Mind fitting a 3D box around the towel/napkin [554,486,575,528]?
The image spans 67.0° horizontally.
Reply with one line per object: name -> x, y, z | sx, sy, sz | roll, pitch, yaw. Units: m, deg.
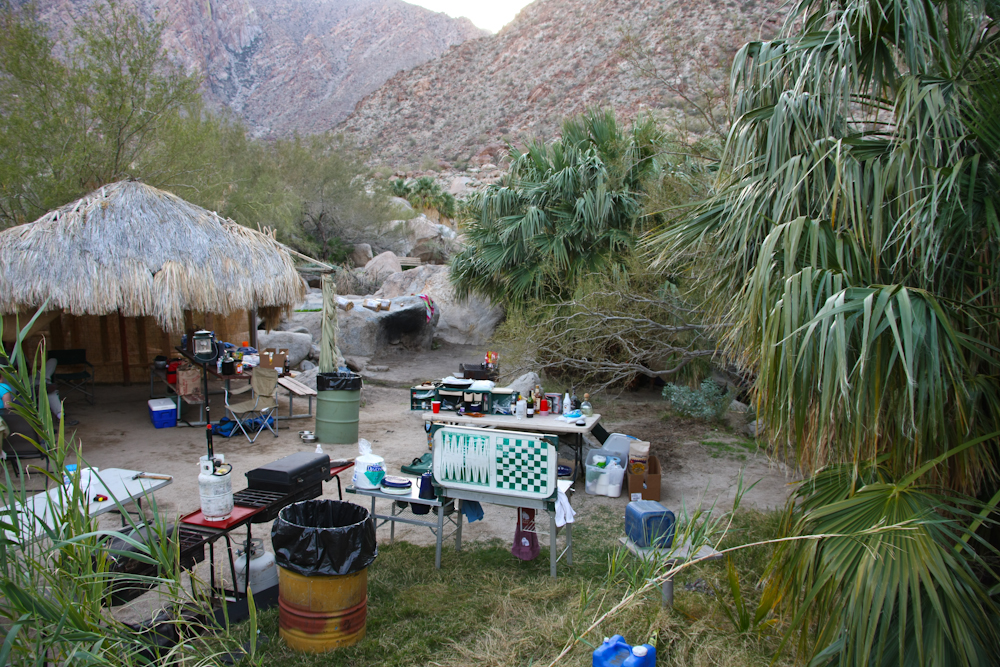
towel/napkin -> 0.613, 1.665, 7.078 | 0.186, 0.532, 0.492 | 0, 13, 6

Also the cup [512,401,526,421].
cup -> 0.220, 0.871, 8.676 | 0.184, 0.189, 0.133 | 1, 0, 1

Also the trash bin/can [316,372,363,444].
trash bin/can -> -2.334, 1.066, 10.867 | 0.667, 0.971, 0.658 | 3, 2, 24

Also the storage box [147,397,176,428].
storage box -> -5.131, 1.195, 11.422 | 0.323, 0.318, 0.487 | 0, 1, -34

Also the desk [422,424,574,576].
desk -> -0.050, 1.635, 7.183 | 1.173, 1.297, 0.606 | 3, 10, 17

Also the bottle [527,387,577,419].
bottle -> 0.664, 0.829, 8.968 | 0.307, 0.222, 0.498 | -3, -6, 42

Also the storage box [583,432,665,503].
storage box -> 1.447, 1.535, 8.785 | 0.702, 0.307, 0.694 | 2, 5, 27

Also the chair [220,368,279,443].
chair -> -3.808, 0.868, 11.414 | 0.725, 1.025, 1.882 | -7, 14, -22

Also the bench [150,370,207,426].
bench -> -4.739, 1.030, 11.356 | 0.451, 0.394, 1.663 | 15, 1, -36

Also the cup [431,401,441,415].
cup -> -0.732, 0.836, 8.608 | 0.117, 0.140, 0.119 | 0, -3, 0

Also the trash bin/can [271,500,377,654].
trash bin/can -> -1.400, 2.102, 6.165 | 0.835, 0.912, 0.915 | 2, -11, 0
